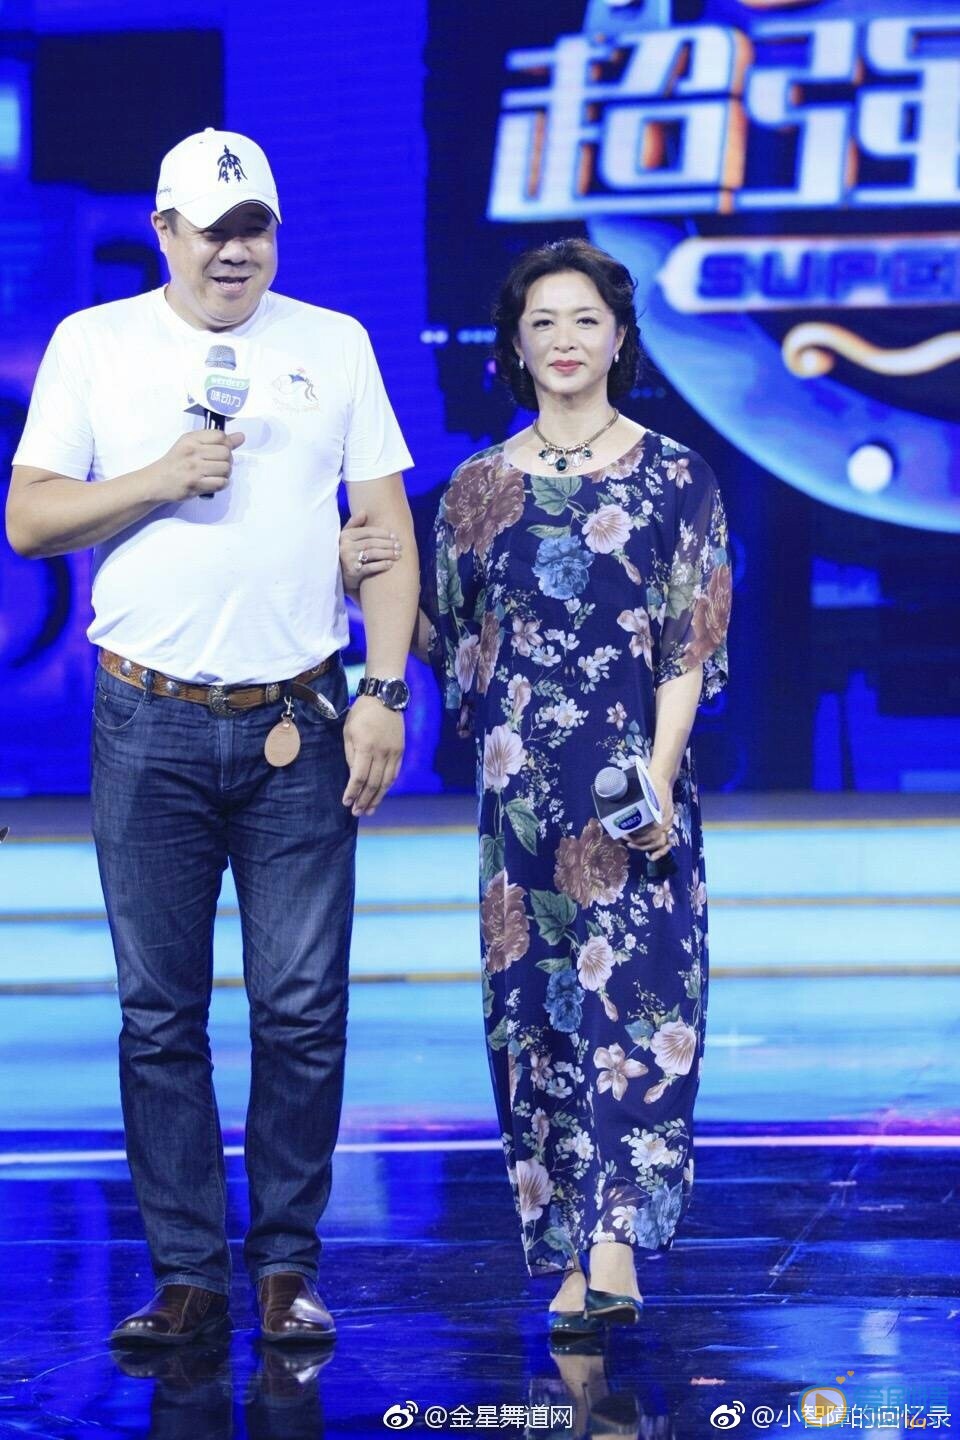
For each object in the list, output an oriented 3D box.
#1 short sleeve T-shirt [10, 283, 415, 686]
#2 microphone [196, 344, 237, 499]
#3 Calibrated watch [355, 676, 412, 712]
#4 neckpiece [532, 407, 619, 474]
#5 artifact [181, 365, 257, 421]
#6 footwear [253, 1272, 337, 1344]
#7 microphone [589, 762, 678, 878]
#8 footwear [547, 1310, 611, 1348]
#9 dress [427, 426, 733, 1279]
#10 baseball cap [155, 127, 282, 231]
[{"bbox_3d":[-0.396,-0.359,2.746,0.602,0.613,0.282,2,2,-8],"label":"short sleeve T-shirt"},{"bbox_3d":[-0.367,-0.437,2.653,0.057,0.220,0.059,5,-14,-4],"label":"microphone"},{"bbox_3d":[-0.139,-0.040,2.814,0.084,0.045,0.076,15,-8,-44],"label":"Calibrated watch"},{"bbox_3d":[0.141,-0.464,2.938,0.113,0.052,0.121,2,32,19],"label":"neckpiece"},{"bbox_3d":[-0.384,-0.475,2.643,0.129,0.097,0.027,3,-1,-9],"label":"artifact"},{"bbox_3d":[-0.272,0.875,2.695,0.103,0.078,0.125,1,1,-12],"label":"footwear"},{"bbox_3d":[0.223,0.171,2.736,0.092,0.200,0.066,-26,26,-10],"label":"microphone"},{"bbox_3d":[0.146,0.905,2.691,0.083,0.032,0.090,2,1,3],"label":"footwear"},{"bbox_3d":[0.124,0.201,2.933,0.483,1.334,0.305,3,2,12],"label":"dress"},{"bbox_3d":[-0.397,-0.817,2.736,0.155,0.105,0.202,-5,15,-21],"label":"baseball cap"}]
